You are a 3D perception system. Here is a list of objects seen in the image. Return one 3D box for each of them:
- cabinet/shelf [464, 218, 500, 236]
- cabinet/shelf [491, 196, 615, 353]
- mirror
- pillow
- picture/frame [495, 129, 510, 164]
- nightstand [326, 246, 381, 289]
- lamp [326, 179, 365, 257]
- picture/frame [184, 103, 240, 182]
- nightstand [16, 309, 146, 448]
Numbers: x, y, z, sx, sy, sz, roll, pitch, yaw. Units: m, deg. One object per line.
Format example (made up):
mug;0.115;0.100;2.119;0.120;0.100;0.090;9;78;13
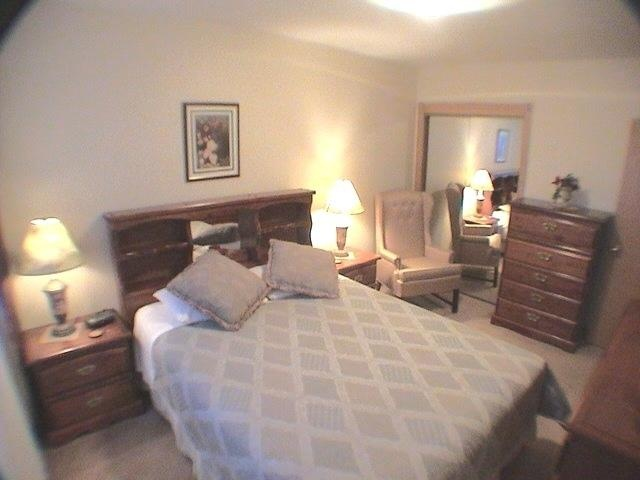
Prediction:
cabinet/shelf;1.578;-0.128;4.629;0.189;0.194;0.190;1;7;22
cabinet/shelf;1.771;0.282;3.538;0.456;1.313;0.806;-18;28;-37
mirror;1.461;-0.352;4.444;0.166;1.548;1.599;-15;25;-34
pillow;-0.415;0.254;3.134;1.196;0.366;0.555;-10;18;-38
picture/frame;1.642;-0.855;4.257;0.050;0.293;0.139;-8;17;-31
nightstand;0.294;0.227;4.120;0.289;0.431;0.427;15;22;40
lamp;0.190;-0.195;4.146;0.381;0.666;0.377;-2;6;-43
picture/frame;-0.792;-0.721;3.378;0.037;0.585;0.490;18;24;42
nightstand;-1.418;0.810;2.870;0.573;0.552;0.438;-12;23;-26
